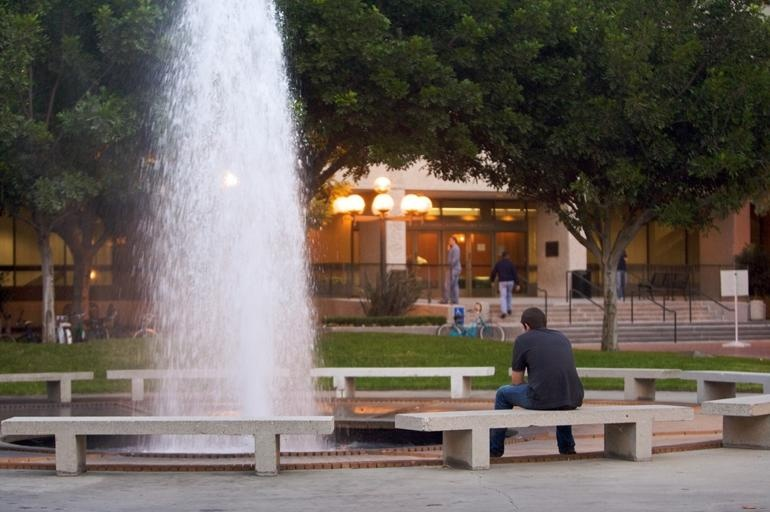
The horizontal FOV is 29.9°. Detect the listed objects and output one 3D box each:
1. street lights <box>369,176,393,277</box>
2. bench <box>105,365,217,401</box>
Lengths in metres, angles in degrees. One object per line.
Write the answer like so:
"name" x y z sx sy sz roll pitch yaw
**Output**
"street lights" 0.101 -0.981 47.044 0.845 3.155 0.968 3 -1 -10
"bench" -5.609 2.917 35.228 1.914 0.426 1.206 0 -11 -6
